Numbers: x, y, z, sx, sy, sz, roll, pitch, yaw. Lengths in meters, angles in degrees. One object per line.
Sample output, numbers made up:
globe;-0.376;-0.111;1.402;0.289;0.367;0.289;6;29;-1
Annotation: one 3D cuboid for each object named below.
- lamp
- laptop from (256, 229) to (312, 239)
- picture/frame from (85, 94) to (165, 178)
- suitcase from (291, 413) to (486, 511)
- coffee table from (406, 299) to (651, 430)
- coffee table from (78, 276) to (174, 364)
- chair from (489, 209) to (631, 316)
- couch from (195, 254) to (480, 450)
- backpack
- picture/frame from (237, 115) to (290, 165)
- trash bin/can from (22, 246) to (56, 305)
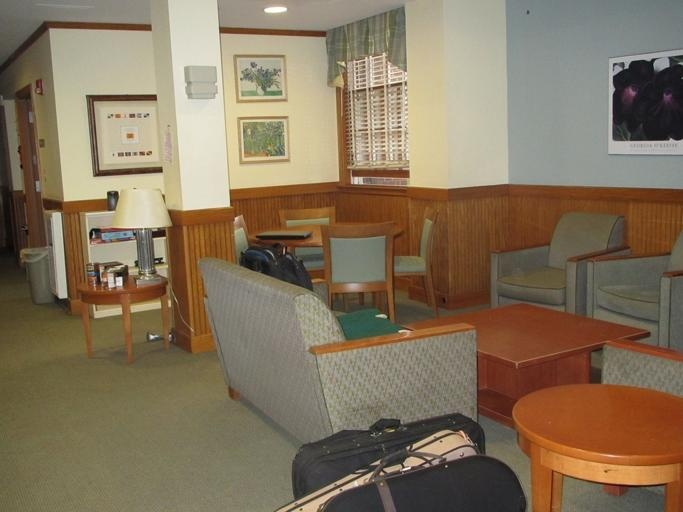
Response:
lamp;-1.794;-0.173;4.731;0.587;0.819;0.571;-2;7;7
laptop;-0.601;-0.223;5.510;0.566;0.055;0.402;0;12;10
picture/frame;-2.583;-1.429;6.211;1.097;1.176;0.084;-8;10;-32
suitcase;0.182;0.796;2.253;0.686;0.275;0.420;-15;8;-19
coffee table;1.285;0.608;3.458;0.954;0.469;0.951;-4;6;-23
coffee table;-2.080;0.602;4.763;0.574;0.539;0.613;6;-8;1
chair;2.116;0.120;5.053;1.252;1.004;1.266;-1;8;19
couch;-0.138;0.559;3.472;1.056;1.082;1.810;-7;8;-31
backpack;-0.434;0.022;3.758;0.399;0.310;0.427;13;2;9
picture/frame;-1.081;-1.583;7.136;0.648;0.561;0.050;-4;7;-25
trash bin/can;-3.826;0.254;6.705;0.272;0.715;0.484;-10;14;-33
